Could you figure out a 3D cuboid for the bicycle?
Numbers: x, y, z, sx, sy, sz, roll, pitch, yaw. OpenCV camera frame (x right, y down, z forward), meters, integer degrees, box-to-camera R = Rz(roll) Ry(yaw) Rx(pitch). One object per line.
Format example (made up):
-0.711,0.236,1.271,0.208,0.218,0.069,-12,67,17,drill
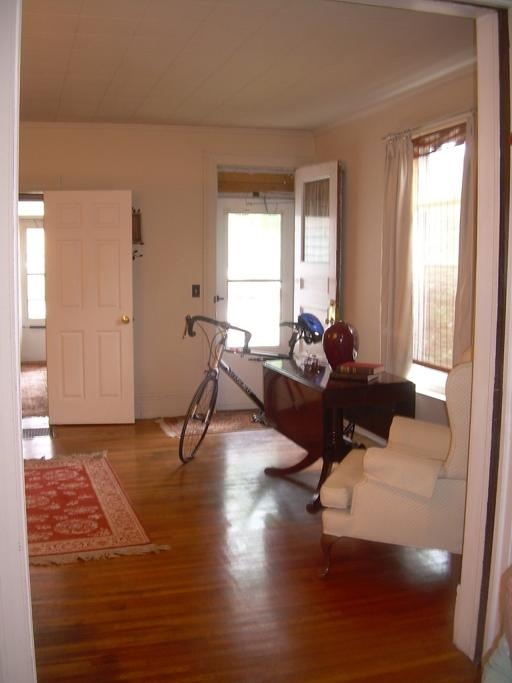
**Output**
0.046,0.260,4.654,1.928,1.525,0.784,-2,14,-41,bicycle

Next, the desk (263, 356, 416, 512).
0.512,0.600,3.493,0.583,0.836,1.027,0,6,-15,desk

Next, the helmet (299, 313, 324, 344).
0.394,-0.094,3.817,0.174,0.242,0.156,3,10,29,helmet
